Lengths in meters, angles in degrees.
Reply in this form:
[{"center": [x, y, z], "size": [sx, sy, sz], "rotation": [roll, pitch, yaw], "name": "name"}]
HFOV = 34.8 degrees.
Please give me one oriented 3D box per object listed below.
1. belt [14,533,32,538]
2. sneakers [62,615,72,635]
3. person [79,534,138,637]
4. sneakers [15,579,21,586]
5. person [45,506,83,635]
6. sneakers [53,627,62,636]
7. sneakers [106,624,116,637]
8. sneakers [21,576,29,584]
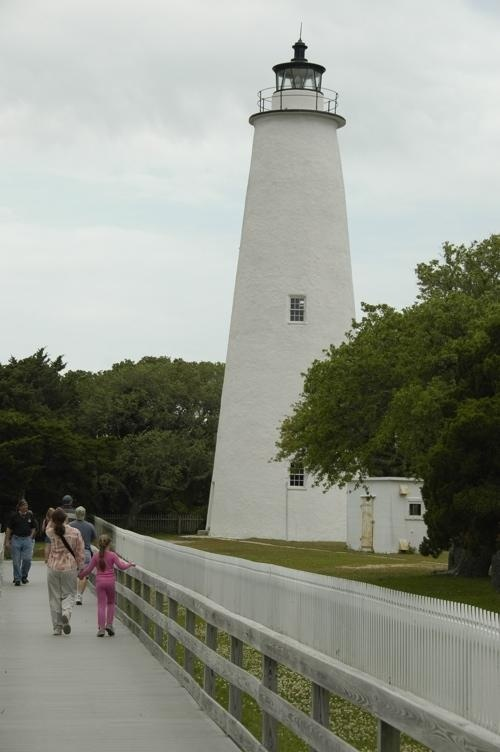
[{"center": [-5.476, 3.853, 19.309], "size": [0.419, 0.109, 0.156], "rotation": [10, -10, -42], "name": "belt"}, {"center": [-2.758, 3.710, 11.936], "size": [0.128, 0.353, 0.154], "rotation": [-7, -7, -3], "name": "sneakers"}, {"center": [-2.302, 3.303, 12.739], "size": [0.754, 1.552, 1.622], "rotation": [4, -7, -10], "name": "person"}, {"center": [-5.908, 5.251, 20.242], "size": [0.073, 0.151, 0.221], "rotation": [4, -26, -15], "name": "sneakers"}, {"center": [-2.857, 2.998, 12.209], "size": [0.560, 1.851, 0.613], "rotation": [5, -7, -14], "name": "person"}, {"center": [-2.911, 3.855, 12.063], "size": [0.121, 0.121, 0.206], "rotation": [5, -7, -12], "name": "sneakers"}, {"center": [-2.120, 3.873, 12.092], "size": [0.088, 0.100, 0.218], "rotation": [-5, -48, 7], "name": "sneakers"}, {"center": [-5.834, 5.289, 20.587], "size": [0.137, 0.230, 0.234], "rotation": [2, -10, -3], "name": "sneakers"}]
